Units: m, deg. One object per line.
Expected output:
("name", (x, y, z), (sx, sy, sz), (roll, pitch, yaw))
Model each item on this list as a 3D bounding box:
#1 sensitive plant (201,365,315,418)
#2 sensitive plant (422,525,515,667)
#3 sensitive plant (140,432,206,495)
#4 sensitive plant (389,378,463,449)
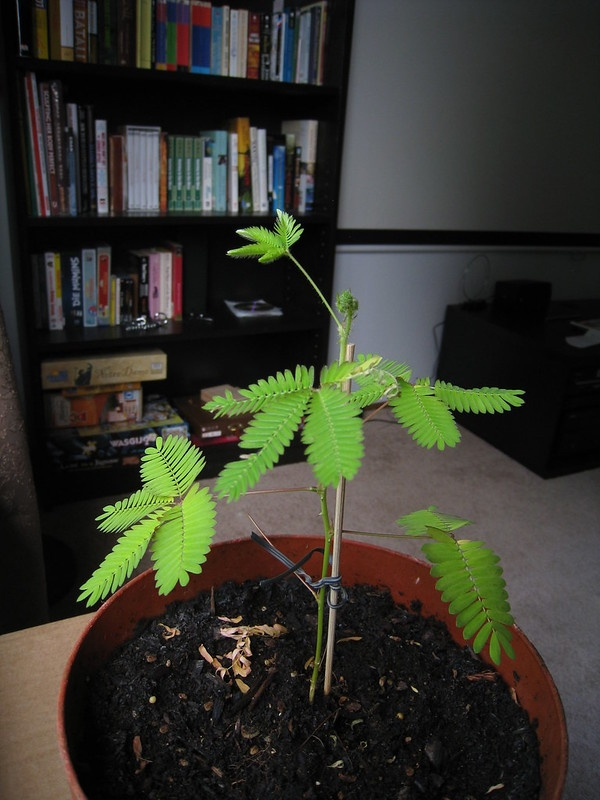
("sensitive plant", (-0.047, -0.001, 0.525), (0.112, 0.038, 0.028), (-18, -12, 32))
("sensitive plant", (0.145, 0.168, 0.539), (0.066, 0.017, 0.145), (-7, 36, -9))
("sensitive plant", (-0.130, 0.064, 0.599), (0.059, 0.018, 0.063), (-28, 31, 0))
("sensitive plant", (0.109, 0.016, 0.490), (0.044, 0.012, 0.069), (-8, 44, -11))
